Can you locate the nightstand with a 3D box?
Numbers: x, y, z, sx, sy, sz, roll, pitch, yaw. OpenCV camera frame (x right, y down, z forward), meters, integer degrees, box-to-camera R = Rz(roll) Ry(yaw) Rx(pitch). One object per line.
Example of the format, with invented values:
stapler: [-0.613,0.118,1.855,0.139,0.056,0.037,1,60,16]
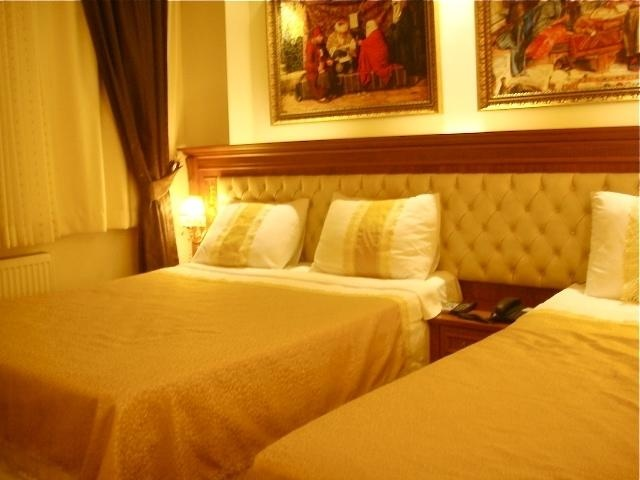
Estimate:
nightstand: [0.925,0.467,2.903,0.458,0.491,0.349,5,8,35]

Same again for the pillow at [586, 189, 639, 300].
pillow: [1.515,0.034,2.450,0.152,0.441,0.437,-3,-25,44]

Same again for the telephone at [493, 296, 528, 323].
telephone: [1.102,0.396,2.744,0.176,0.069,0.134,-22,18,-38]
